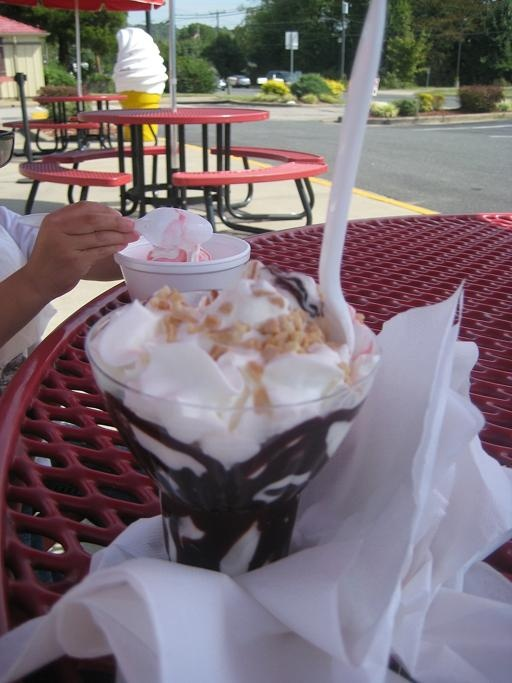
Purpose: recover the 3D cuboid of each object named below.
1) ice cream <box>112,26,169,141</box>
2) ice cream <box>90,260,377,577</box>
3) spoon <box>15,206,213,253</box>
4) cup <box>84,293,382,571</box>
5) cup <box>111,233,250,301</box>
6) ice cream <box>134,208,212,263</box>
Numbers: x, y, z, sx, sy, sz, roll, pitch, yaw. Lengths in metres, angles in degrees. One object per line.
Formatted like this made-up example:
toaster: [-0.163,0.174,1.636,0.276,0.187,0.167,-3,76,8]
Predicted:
ice cream: [-1.146,-2.517,5.825,0.499,1.075,0.505,-17,35,-33]
ice cream: [-0.016,0.059,0.336,0.147,0.149,0.143,-6,20,-23]
spoon: [-0.251,-0.248,1.225,0.140,0.060,0.483,13,22,39]
cup: [0.001,0.064,0.374,0.175,0.154,0.125,3,25,8]
cup: [-0.077,-0.111,0.611,0.127,0.054,0.120,0,20,0]
ice cream: [-0.083,-0.116,0.640,0.086,0.069,0.074,4,15,-4]
